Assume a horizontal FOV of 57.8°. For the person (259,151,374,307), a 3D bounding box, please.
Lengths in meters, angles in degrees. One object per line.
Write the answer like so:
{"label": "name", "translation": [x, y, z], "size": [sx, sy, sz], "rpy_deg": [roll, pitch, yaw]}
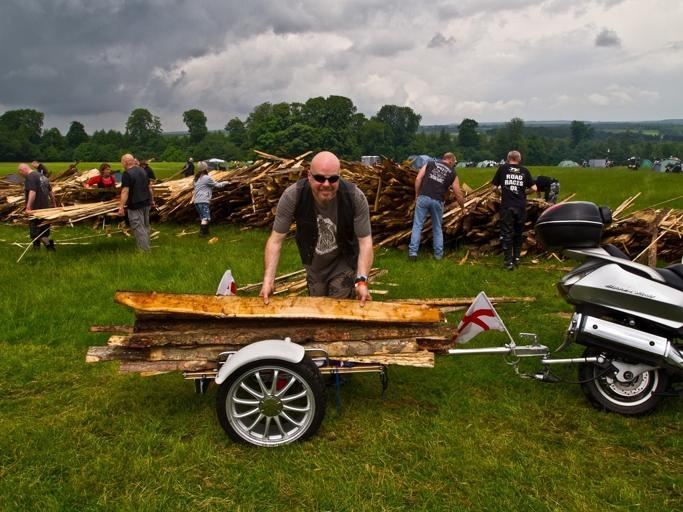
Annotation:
{"label": "person", "translation": [-0.276, -0.329, 7.500], "size": [1.242, 1.858, 0.711], "rpy_deg": [-3, 12, 2]}

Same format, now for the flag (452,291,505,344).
{"label": "flag", "translation": [1.858, 0.865, 8.392], "size": [0.857, 0.724, 0.062], "rpy_deg": [-6, 15, 17]}

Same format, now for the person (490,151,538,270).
{"label": "person", "translation": [3.839, -1.085, 13.821], "size": [0.846, 2.513, 1.589], "rpy_deg": [1, 12, 17]}

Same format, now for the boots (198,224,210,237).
{"label": "boots", "translation": [-4.042, -0.729, 18.338], "size": [0.411, 0.393, 0.310], "rpy_deg": [1, -2, -4]}

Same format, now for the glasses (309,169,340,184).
{"label": "glasses", "translation": [-0.195, -0.917, 7.207], "size": [0.335, 0.145, 0.178], "rpy_deg": [-4, 11, -5]}
